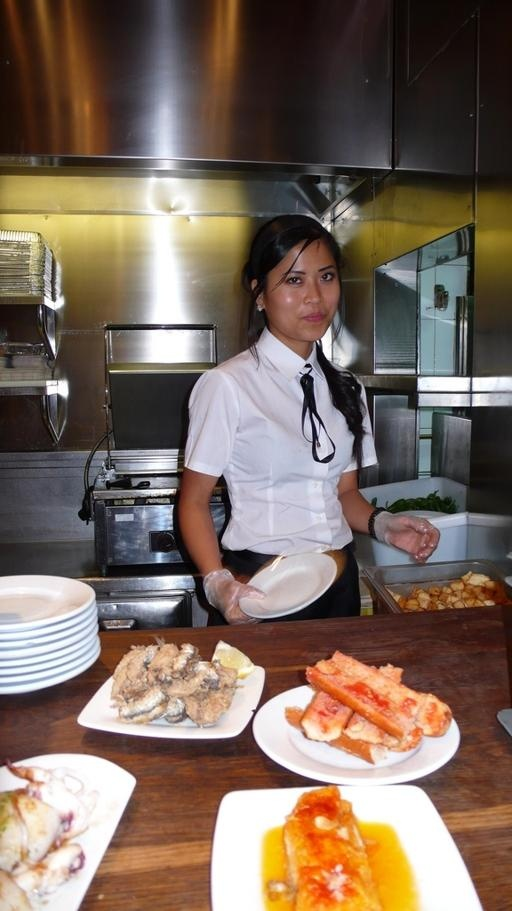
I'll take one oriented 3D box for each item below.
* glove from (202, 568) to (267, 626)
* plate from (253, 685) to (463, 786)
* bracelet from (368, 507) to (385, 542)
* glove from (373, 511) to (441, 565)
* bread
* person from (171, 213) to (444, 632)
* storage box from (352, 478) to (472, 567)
[{"bbox_3d":[-0.046,0.278,1.348,0.051,0.082,0.129,-8,13,-27],"label":"glove"},{"bbox_3d":[0.108,0.337,0.794,0.237,0.031,0.167,2,12,27],"label":"plate"},{"bbox_3d":[0.307,0.182,1.766,0.025,0.071,0.060,3,15,8],"label":"bracelet"},{"bbox_3d":[0.389,0.217,1.746,0.086,0.080,0.134,31,-4,-40],"label":"glove"},{"bbox_3d":[0.141,0.292,0.795,0.114,0.031,0.111,8,23,29],"label":"bread"},{"bbox_3d":[0.109,-0.055,1.630,0.608,1.012,0.558,-7,10,-21],"label":"person"},{"bbox_3d":[0.579,0.214,2.505,0.312,0.212,0.331,-1,4,-2],"label":"storage box"}]
